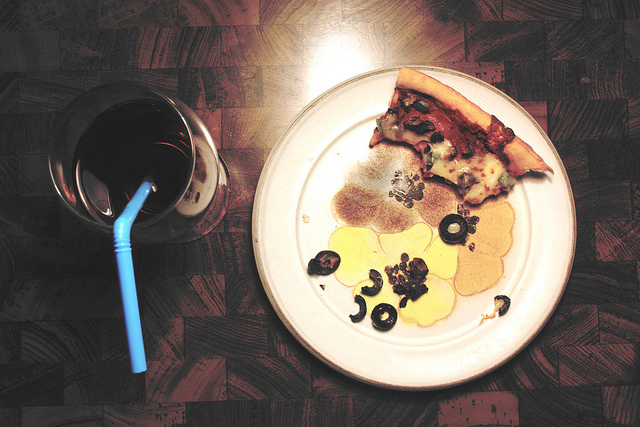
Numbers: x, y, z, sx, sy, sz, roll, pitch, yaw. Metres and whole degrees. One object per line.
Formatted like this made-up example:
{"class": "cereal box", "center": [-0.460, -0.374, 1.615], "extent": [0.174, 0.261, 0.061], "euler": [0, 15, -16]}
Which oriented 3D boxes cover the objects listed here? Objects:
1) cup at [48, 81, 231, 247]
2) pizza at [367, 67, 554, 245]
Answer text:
{"class": "cup", "center": [-0.371, -0.116, 1.746], "extent": [0.365, 0.385, 0.355], "euler": [0, 93, -5]}
{"class": "pizza", "center": [0.307, -0.134, 1.788], "extent": [0.452, 0.141, 0.323], "euler": [44, 103, 27]}
